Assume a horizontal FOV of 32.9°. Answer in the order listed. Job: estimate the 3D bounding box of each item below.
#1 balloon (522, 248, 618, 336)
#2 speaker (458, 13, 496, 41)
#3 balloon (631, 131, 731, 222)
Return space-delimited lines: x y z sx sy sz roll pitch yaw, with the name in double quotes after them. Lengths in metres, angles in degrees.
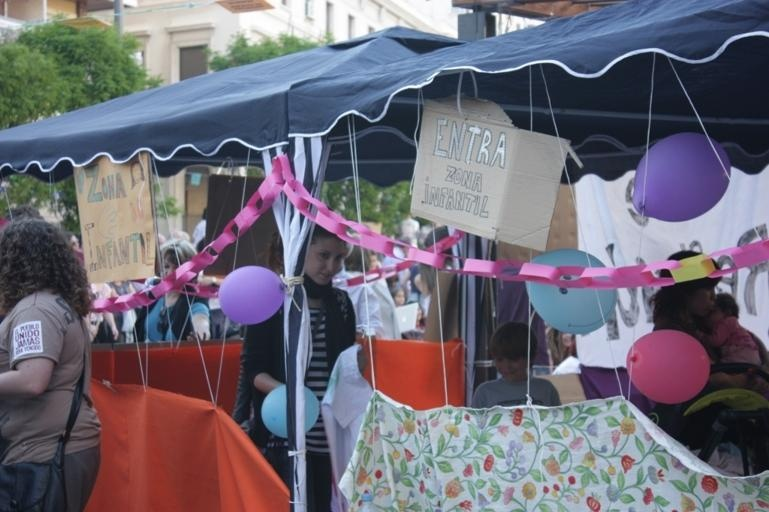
1.441 0.272 10.101 0.697 0.640 0.476 2 2 10 "balloon"
0.892 -2.207 13.036 0.360 0.399 0.378 3 6 27 "speaker"
2.255 -0.561 10.043 0.825 0.598 0.721 -8 -6 29 "balloon"
